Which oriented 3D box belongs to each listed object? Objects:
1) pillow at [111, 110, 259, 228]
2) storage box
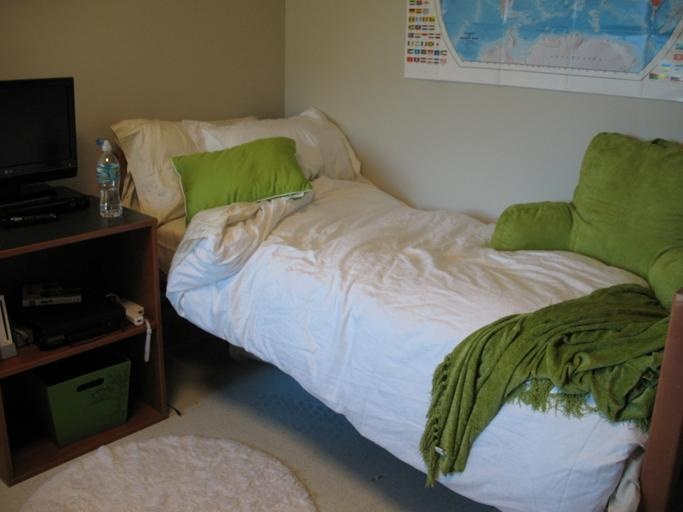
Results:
[{"bbox_3d":[-0.960,-0.443,2.716,0.477,0.515,0.146,-1,-8,-38],"label":"pillow"},{"bbox_3d":[-1.127,0.615,2.364,0.365,0.350,0.361,-13,19,-37],"label":"storage box"}]
